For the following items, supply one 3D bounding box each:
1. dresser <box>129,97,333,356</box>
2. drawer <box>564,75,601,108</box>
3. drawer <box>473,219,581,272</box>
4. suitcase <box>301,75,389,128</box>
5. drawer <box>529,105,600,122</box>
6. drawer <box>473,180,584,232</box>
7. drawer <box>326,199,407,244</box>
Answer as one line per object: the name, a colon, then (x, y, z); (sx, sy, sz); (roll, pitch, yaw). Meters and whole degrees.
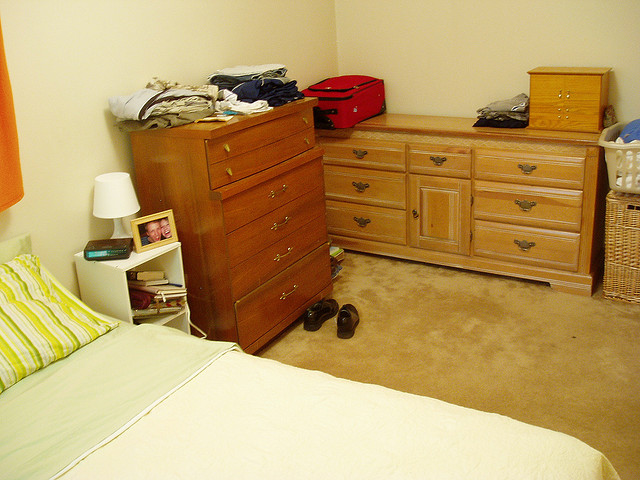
dresser: (-0.602, -0.111, 3.098); (0.881, 1.339, 1.126); (8, 24, 23)
drawer: (1.666, -0.955, 3.071); (0.231, 0.175, 0.107); (6, 29, 30)
drawer: (1.389, 0.039, 3.283); (0.564, 0.200, 0.432); (7, 10, 33)
suitcase: (0.236, -1.064, 3.709); (0.593, 0.260, 0.614); (11, 31, 35)
drawer: (1.597, -0.824, 3.140); (0.240, 0.046, 0.213); (6, 8, 38)
drawer: (1.372, -0.229, 3.212); (0.913, 0.311, 0.392); (5, 18, 21)
drawer: (0.375, -0.135, 3.827); (0.736, 0.252, 0.384); (7, 17, 24)
